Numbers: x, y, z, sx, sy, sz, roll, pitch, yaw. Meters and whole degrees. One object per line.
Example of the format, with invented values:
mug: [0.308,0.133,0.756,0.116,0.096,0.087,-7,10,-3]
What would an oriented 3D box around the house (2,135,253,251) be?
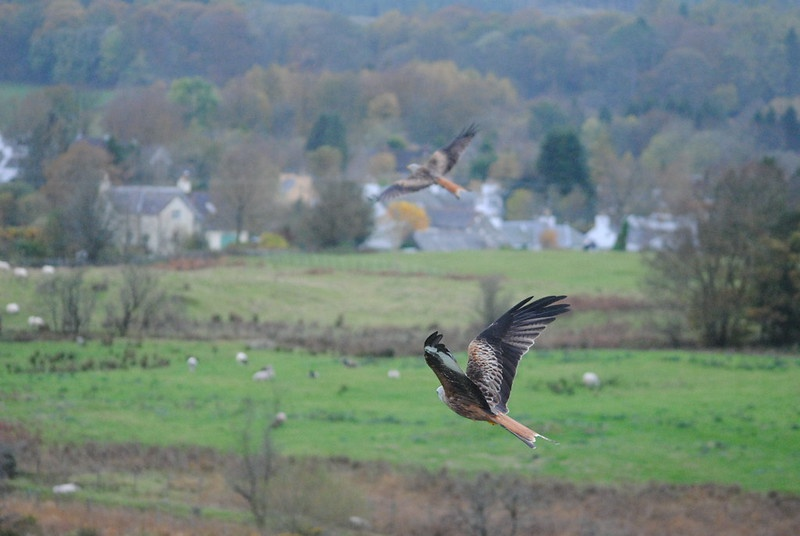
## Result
house: [-3.659,-1.163,29.547,3.798,1.394,1.146,1,17,-2]
